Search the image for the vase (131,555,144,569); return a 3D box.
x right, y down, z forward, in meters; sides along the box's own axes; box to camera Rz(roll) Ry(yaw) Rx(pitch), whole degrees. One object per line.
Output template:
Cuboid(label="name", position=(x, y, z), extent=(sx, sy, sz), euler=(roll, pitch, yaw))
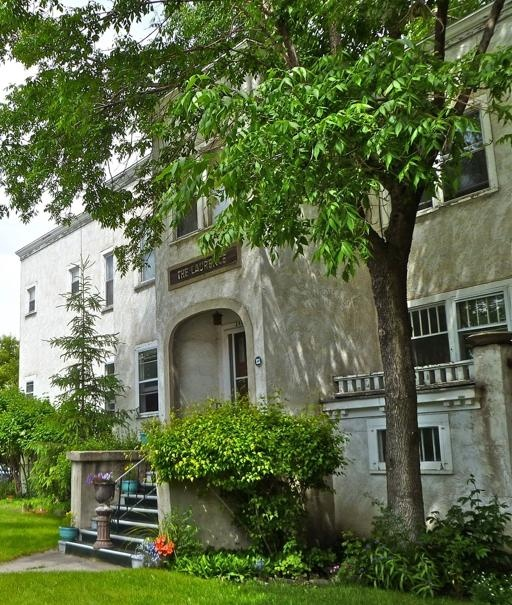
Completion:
Cuboid(label="vase", position=(-1.593, 3.451, 6.839), extent=(0.199, 0.152, 0.172), euler=(1, -12, 3))

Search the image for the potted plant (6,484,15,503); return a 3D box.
Cuboid(label="potted plant", position=(-8.090, 6.155, 16.785), extent=(0.287, 0.445, 0.777), euler=(4, -17, -25))

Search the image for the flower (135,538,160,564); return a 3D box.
Cuboid(label="flower", position=(-1.432, 3.314, 6.766), extent=(0.254, 0.205, 0.266), euler=(2, 1, -28))

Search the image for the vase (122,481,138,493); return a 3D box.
Cuboid(label="vase", position=(-2.406, 3.515, 9.684), extent=(0.216, 0.177, 0.236), euler=(8, -26, -17))

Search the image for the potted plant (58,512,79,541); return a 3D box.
Cuboid(label="potted plant", position=(-3.214, 3.826, 8.735), extent=(0.313, 0.398, 0.735), euler=(5, -18, -29))
